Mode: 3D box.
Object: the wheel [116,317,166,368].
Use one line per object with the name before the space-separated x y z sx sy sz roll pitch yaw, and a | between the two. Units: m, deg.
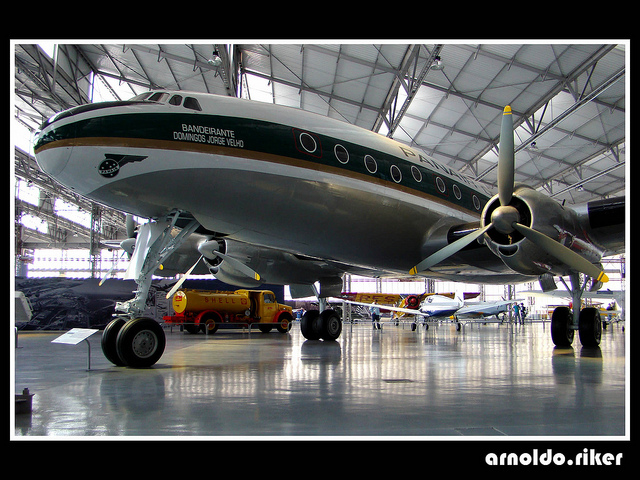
wheel | -3.384 1.945 9.216 1.019 0.882 0.859 -1 5 -42
